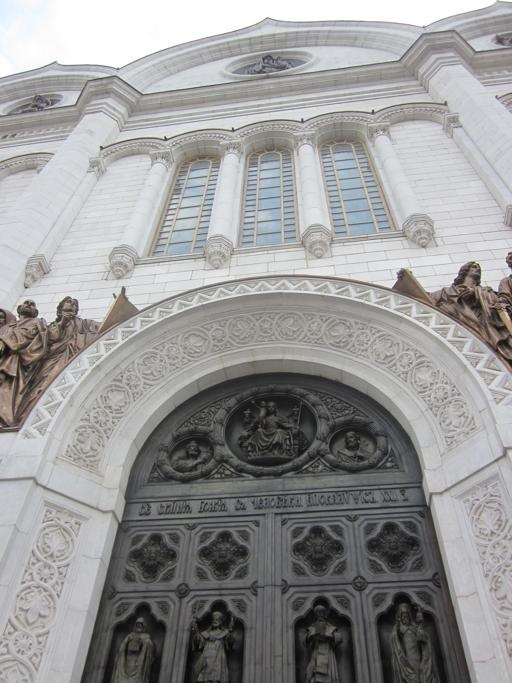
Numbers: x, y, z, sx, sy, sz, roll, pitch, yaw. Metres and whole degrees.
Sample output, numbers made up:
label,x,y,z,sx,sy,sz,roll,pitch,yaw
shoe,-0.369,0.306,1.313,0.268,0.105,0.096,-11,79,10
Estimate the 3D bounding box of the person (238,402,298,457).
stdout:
label,x,y,z,sx,sy,sz,roll,pitch,yaw
person,0.150,1.133,6.459,0.799,0.948,0.219,-1,-54,4
